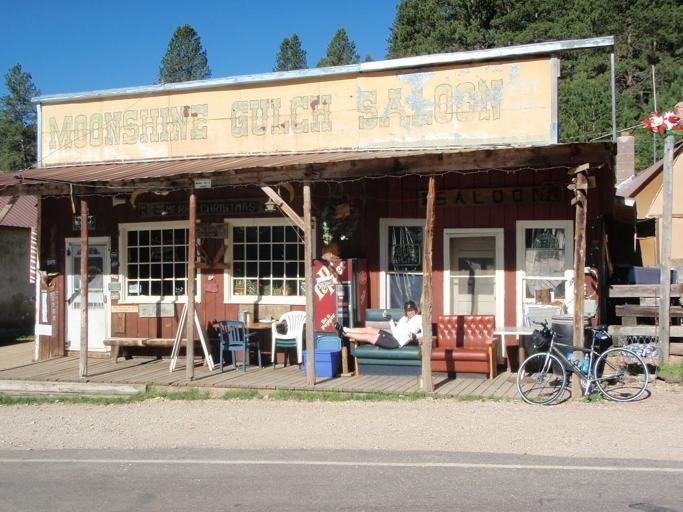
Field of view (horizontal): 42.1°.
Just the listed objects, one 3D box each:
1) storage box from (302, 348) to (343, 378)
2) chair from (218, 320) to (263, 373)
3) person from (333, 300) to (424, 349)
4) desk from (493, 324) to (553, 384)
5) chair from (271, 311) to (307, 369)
[{"bbox_3d":[-0.336,2.063,17.064,0.767,0.571,0.443,-4,8,-14],"label":"storage box"},{"bbox_3d":[-2.081,1.731,18.088,0.654,1.240,0.710,-1,-2,25],"label":"chair"},{"bbox_3d":[0.756,1.283,17.181,1.676,1.037,1.065,9,12,-16],"label":"person"},{"bbox_3d":[3.411,1.861,16.993,0.825,0.907,0.888,-1,-3,6],"label":"desk"},{"bbox_3d":[-1.050,1.760,18.278,0.617,1.235,0.639,-1,-3,22],"label":"chair"}]
